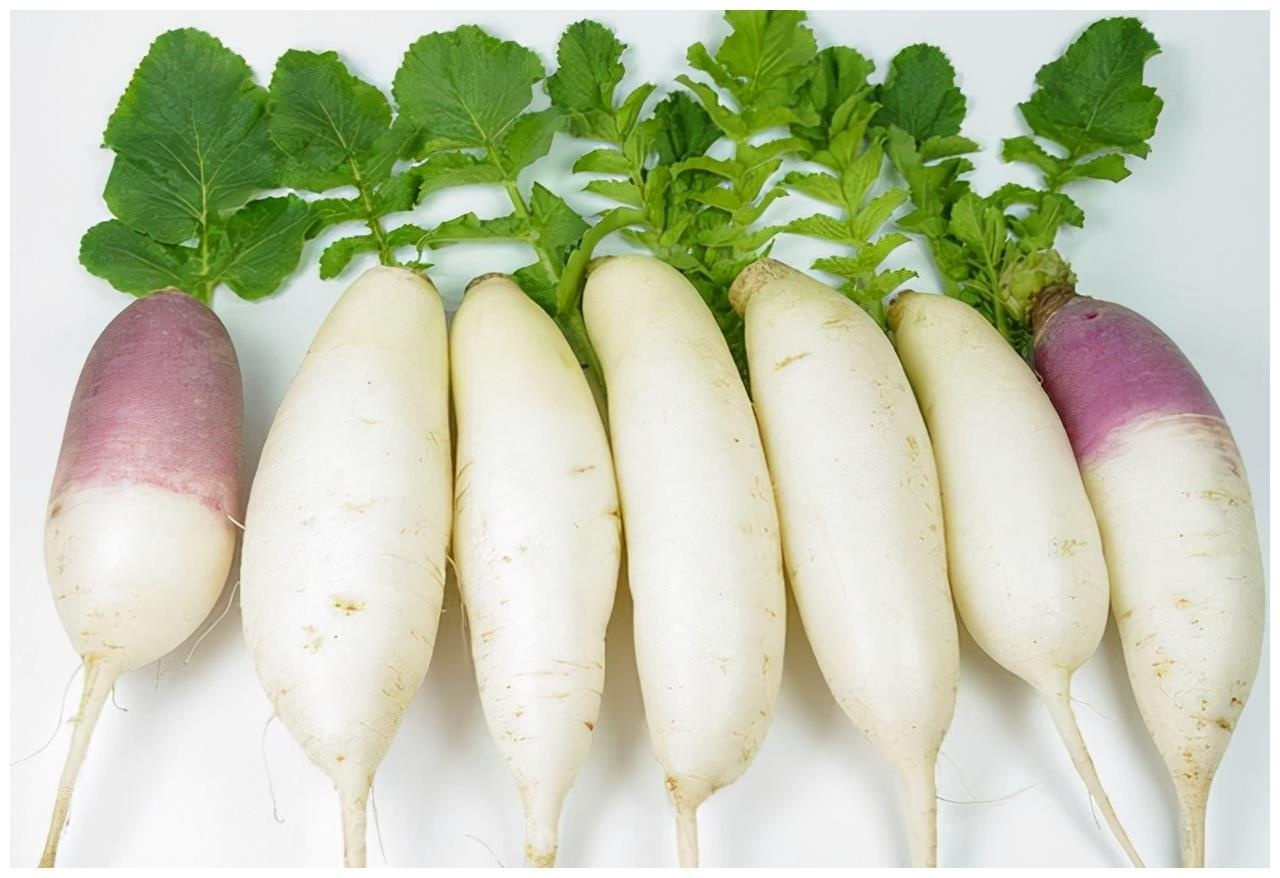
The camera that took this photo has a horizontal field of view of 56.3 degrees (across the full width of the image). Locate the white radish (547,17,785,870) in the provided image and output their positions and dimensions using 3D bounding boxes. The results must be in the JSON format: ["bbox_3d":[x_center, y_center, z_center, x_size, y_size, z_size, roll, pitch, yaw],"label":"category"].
[{"bbox_3d":[0.053,0.124,1.474,0.170,0.762,0.188,8,-15,-34],"label":"white radish"}]

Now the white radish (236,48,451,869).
[{"bbox_3d":[-0.370,-0.012,1.513,0.237,1.043,0.206,5,-13,-24],"label":"white radish"}]

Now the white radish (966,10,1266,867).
[{"bbox_3d":[0.706,-0.066,1.631,0.188,1.203,0.288,12,-26,-34],"label":"white radish"}]
